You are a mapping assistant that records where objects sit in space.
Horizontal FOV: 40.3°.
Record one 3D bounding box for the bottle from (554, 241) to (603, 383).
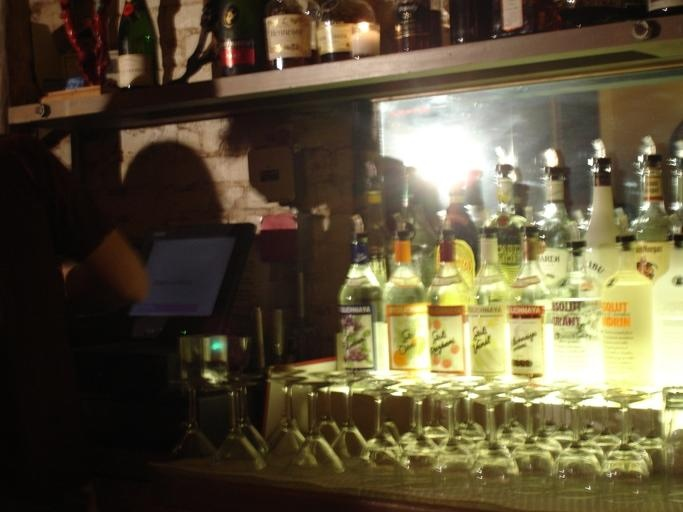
[{"bbox_3d":[0.525,0.123,2.059,0.121,0.307,0.083,-1,-5,1],"label":"bottle"}]
